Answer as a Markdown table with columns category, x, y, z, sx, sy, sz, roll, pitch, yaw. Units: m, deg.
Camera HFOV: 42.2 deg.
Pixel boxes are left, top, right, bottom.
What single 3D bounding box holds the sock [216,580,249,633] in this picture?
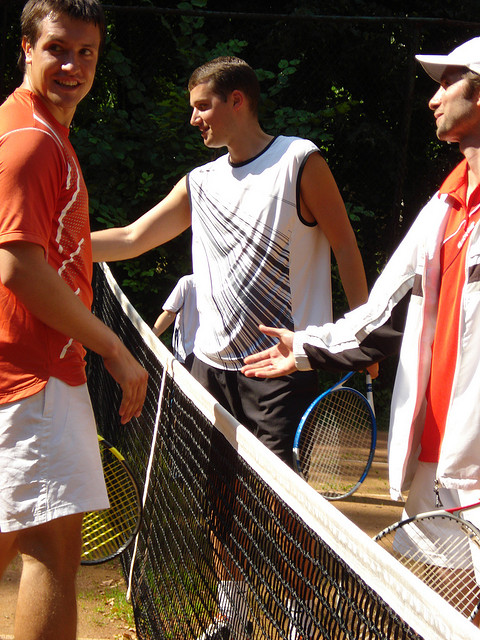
| category | x | y | z | sx | sy | sz | roll | pitch | yaw |
| --- | --- | --- | --- | --- | --- | --- | --- | --- | --- |
| sock | -0.012 | 0.629 | 1.364 | 0.007 | 0.139 | 0.144 | 3 | 2 | -20 |

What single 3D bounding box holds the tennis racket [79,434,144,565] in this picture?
| category | x | y | z | sx | sy | sz | roll | pitch | yaw |
| --- | --- | --- | --- | --- | --- | --- | --- | --- | --- |
| tennis racket | -0.637 | 0.763 | 2.908 | 0.319 | 0.064 | 0.864 | -20 | 34 | -6 |
